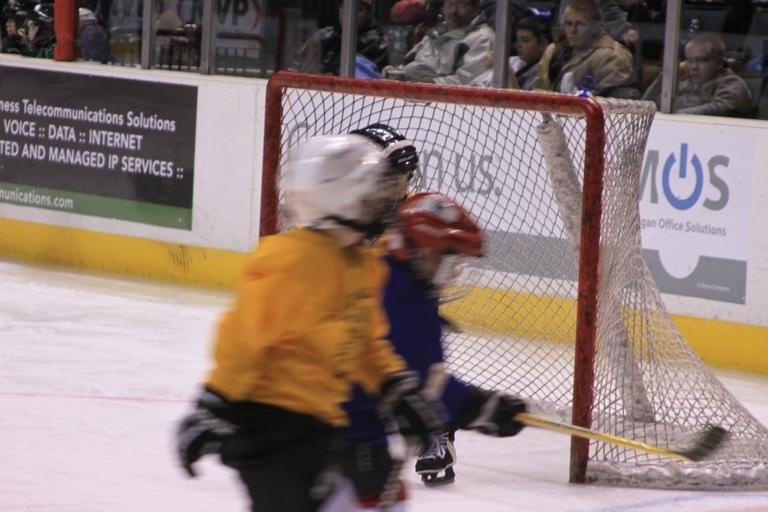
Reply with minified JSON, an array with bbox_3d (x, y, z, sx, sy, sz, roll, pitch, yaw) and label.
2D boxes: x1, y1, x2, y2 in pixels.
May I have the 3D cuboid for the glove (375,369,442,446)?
[{"bbox_3d":[0.110,0.699,5.626,0.274,0.163,0.356,-12,62,-40],"label":"glove"}]

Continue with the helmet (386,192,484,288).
[{"bbox_3d":[0.225,-0.088,6.080,0.498,0.439,0.377,26,-1,-5],"label":"helmet"}]

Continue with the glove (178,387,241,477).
[{"bbox_3d":[-0.811,0.809,5.840,0.363,0.379,0.296,4,7,-26],"label":"glove"}]

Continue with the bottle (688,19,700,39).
[{"bbox_3d":[2.290,-1.692,9.149,0.078,0.140,0.020,13,15,32],"label":"bottle"}]

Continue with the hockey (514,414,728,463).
[{"bbox_3d":[1.451,1.084,7.336,1.339,0.093,0.435,6,0,33],"label":"hockey"}]
